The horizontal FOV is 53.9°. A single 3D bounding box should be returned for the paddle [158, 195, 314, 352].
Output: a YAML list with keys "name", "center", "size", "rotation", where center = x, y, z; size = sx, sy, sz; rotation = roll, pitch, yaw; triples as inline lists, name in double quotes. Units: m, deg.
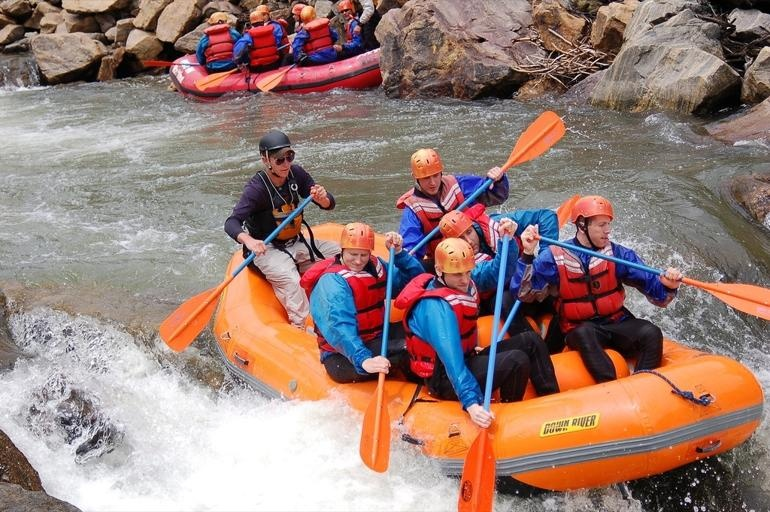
- name: "paddle"
  center: [-1.505, 0.100, 8.108]
  size: [0.398, 0.118, 2.312]
  rotation: [34, 65, 23]

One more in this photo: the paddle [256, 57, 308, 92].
- name: "paddle"
  center: [-2.115, -3.624, 15.413]
  size: [1.265, 0.061, 0.344]
  rotation: [-34, 67, -13]

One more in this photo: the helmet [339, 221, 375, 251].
- name: "helmet"
  center: [-0.253, -0.192, 7.151]
  size: [0.226, 0.308, 0.256]
  rotation: [8, 71, -6]

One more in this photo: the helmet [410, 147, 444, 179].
- name: "helmet"
  center: [0.435, -1.019, 8.287]
  size: [0.289, 0.322, 0.401]
  rotation: [-20, 43, 6]

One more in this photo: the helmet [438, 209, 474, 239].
- name: "helmet"
  center: [0.726, -0.328, 7.666]
  size: [0.229, 0.311, 0.260]
  rotation: [-26, 67, -38]

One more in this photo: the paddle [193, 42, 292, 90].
- name: "paddle"
  center: [-2.936, -3.945, 15.726]
  size: [1.905, 0.095, 0.328]
  rotation: [-38, 90, -10]

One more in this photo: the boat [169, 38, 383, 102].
- name: "boat"
  center: [-2.069, -3.662, 15.582]
  size: [3.352, 0.689, 1.656]
  rotation: [-5, 21, 14]

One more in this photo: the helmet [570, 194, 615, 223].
- name: "helmet"
  center: [1.967, -0.455, 7.218]
  size: [0.317, 0.251, 0.255]
  rotation: [-25, -8, 35]

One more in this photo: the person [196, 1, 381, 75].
- name: "person"
  center: [-2.007, -4.241, 15.444]
  size: [2.688, 0.506, 1.433]
  rotation: [-11, 48, 4]

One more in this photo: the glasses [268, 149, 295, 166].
- name: "glasses"
  center: [-1.118, -1.036, 8.077]
  size: [0.171, 0.090, 0.228]
  rotation: [-12, -3, -42]

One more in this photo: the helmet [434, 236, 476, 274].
- name: "helmet"
  center: [0.645, 0.046, 6.961]
  size: [0.371, 0.385, 0.446]
  rotation: [-4, 7, -20]

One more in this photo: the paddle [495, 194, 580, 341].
- name: "paddle"
  center: [1.509, 0.172, 7.480]
  size: [0.193, 0.095, 1.800]
  rotation: [27, 75, 14]
